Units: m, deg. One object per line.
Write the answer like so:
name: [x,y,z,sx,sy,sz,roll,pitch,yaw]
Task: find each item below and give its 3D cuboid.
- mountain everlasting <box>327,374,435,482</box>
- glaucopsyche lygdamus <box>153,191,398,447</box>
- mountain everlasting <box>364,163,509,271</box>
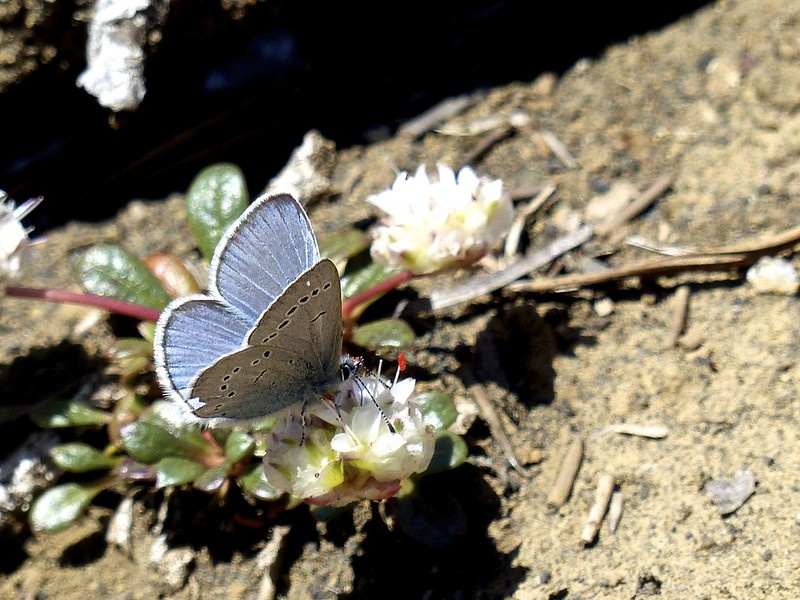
mountain everlasting: [-0.067,0.551,4.217,0.567,0.430,0.430,-3,104,3]
glaucopsyche lygdamus: [-0.557,0.160,3.951,0.590,0.750,0.950,36,75,28]
mountain everlasting: [0.176,-0.420,4.567,0.644,0.516,1.025,-1,18,2]
